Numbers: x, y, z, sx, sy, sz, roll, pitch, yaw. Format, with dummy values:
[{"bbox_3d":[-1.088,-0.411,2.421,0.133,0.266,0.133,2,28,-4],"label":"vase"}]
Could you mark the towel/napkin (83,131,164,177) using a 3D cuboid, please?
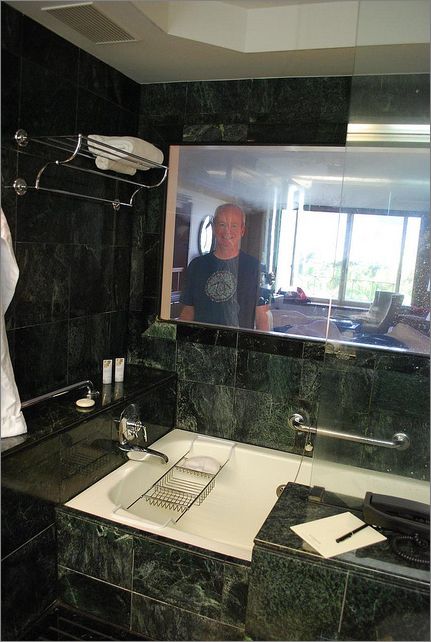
[{"bbox_3d":[-0.447,-0.778,2.403,0.262,0.108,0.263,7,11,26],"label":"towel/napkin"}]
